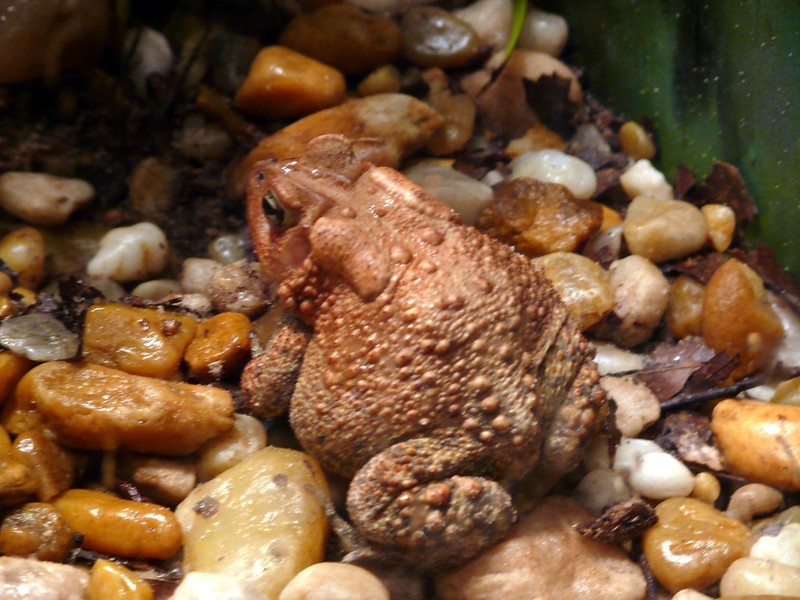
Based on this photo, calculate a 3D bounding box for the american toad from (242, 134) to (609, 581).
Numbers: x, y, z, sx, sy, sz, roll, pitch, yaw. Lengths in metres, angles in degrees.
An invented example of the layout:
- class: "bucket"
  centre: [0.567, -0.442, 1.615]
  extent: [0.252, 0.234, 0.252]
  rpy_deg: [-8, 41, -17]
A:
- class: "american toad"
  centre: [-0.025, 0.083, 1.782]
  extent: [0.650, 0.162, 0.945]
  rpy_deg: [-42, 87, -3]
